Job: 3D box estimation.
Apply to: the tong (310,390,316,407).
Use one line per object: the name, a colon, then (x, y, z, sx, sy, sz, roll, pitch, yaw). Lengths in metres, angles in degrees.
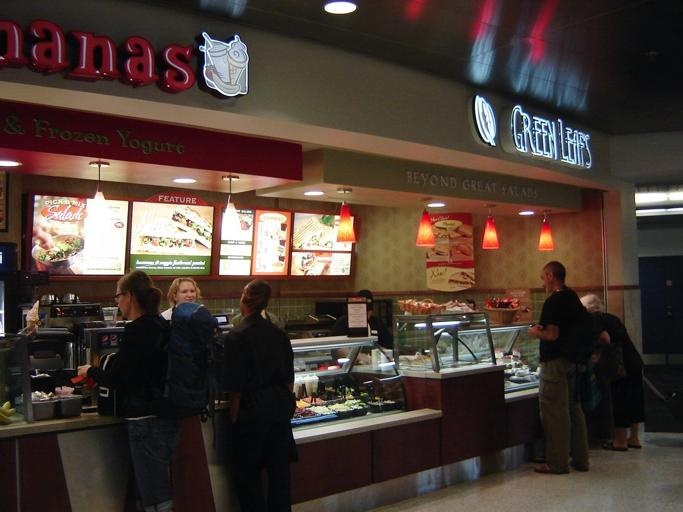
tong: (-0.231, 1.186, 4.802, 0.074, 0.103, 0.034, -2, -3, -24)

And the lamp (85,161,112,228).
lamp: (-2.154, -0.541, 5.110, 0.172, 0.649, 1.199, -2, -2, -22)

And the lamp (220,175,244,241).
lamp: (-1.065, -0.462, 5.515, 0.161, 0.647, 0.155, -1, 5, -29)

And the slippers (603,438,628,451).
slippers: (3.081, 2.114, 6.381, 0.280, 0.063, 0.224, -3, -2, 15)

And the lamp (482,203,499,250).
lamp: (2.258, -0.409, 8.665, 0.265, 0.594, 2.038, -4, -2, 15)

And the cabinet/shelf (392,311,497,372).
cabinet/shelf: (1.000, 0.818, 5.540, 1.038, 0.547, 0.496, 0, -3, -33)

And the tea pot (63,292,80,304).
tea pot: (-2.734, 0.420, 5.772, 0.129, 0.086, 0.172, 0, 4, -9)

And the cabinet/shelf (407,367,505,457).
cabinet/shelf: (1.041, 1.464, 5.368, 0.959, 0.772, 0.517, 1, -4, -43)

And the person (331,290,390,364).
person: (0.191, 0.801, 6.842, 0.659, 0.368, 1.232, 15, 19, 12)
